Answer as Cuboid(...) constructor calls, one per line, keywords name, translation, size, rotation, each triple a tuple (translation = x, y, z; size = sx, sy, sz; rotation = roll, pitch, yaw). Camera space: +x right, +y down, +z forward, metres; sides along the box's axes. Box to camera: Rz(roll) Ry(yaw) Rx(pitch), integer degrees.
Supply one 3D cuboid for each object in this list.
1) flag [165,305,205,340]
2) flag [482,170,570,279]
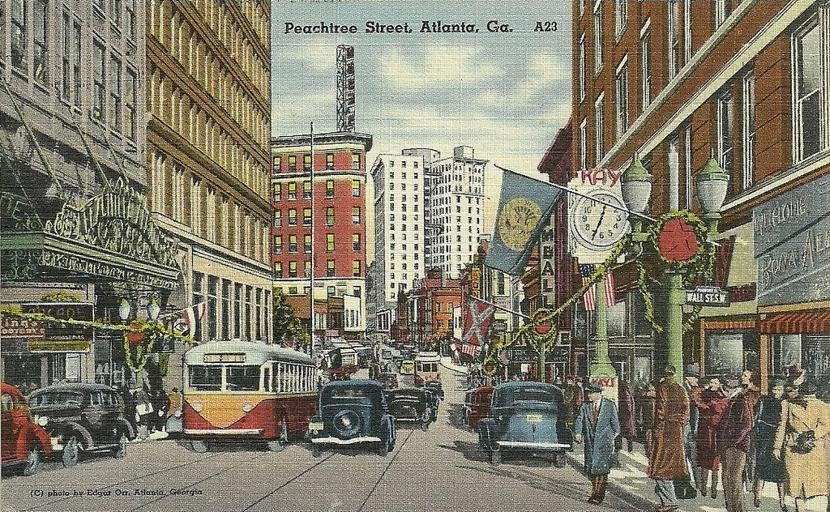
Cuboid(name="flag", translation=(-7.213, 2.122, 46.756), size=(1.675, 1.068, 0.098), rotation=(-17, -20, 30))
Cuboid(name="flag", translation=(3.250, -0.941, 44.966), size=(2.359, 0.300, 3.878), rotation=(7, -47, 5))
